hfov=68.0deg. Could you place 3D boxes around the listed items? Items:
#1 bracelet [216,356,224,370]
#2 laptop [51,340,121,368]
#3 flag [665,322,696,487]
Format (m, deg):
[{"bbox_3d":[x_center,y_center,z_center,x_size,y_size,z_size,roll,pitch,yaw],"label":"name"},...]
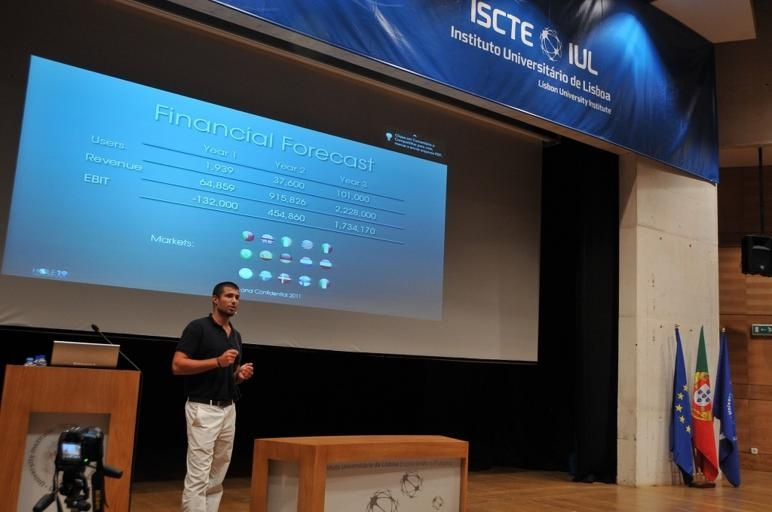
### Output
[{"bbox_3d":[-1.149,0.758,4.009,0.031,0.089,0.064,-10,10,-35],"label":"bracelet"},{"bbox_3d":[-2.027,0.671,3.858,0.388,0.181,0.128,6,-12,-30],"label":"laptop"},{"bbox_3d":[3.735,1.886,7.287,0.324,1.940,0.293,-2,-10,14],"label":"flag"}]
